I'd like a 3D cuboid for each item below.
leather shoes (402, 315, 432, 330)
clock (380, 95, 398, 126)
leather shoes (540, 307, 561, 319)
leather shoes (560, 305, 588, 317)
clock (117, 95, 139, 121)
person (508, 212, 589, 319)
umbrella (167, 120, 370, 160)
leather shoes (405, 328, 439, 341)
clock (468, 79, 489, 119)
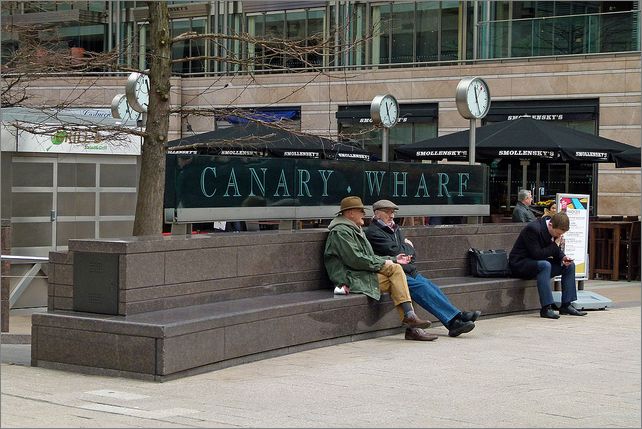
[{"bbox_3d":[1.638,1.847,16.835,0.488,0.195,0.217,-3,-6,19],"label":"leather shoes"},{"bbox_3d":[1.529,-2.365,22.461,0.214,0.740,0.782,-4,3,25],"label":"clock"},{"bbox_3d":[4.340,1.869,18.827,0.162,0.174,0.460,1,-5,-29],"label":"leather shoes"},{"bbox_3d":[4.915,1.861,19.060,0.591,0.232,0.193,-1,-2,8],"label":"leather shoes"},{"bbox_3d":[-4.348,-2.435,22.297,0.162,0.513,0.543,-6,-8,27],"label":"clock"},{"bbox_3d":[4.335,0.951,18.988,1.401,1.948,0.879,4,14,9],"label":"person"},{"bbox_3d":[-1.239,-1.673,23.343,4.493,1.048,2.390,0,13,-8],"label":"umbrella"},{"bbox_3d":[1.729,2.058,16.974,0.574,0.222,0.207,-2,-3,14],"label":"leather shoes"},{"bbox_3d":[3.335,-2.474,21.007,0.232,0.763,0.807,-5,-13,30],"label":"clock"}]
